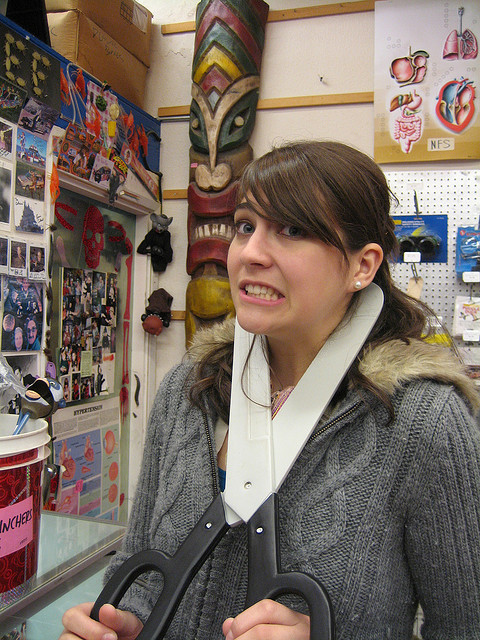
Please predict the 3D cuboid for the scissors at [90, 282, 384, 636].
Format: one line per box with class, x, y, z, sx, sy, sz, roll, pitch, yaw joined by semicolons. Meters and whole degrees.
scissors;0.012;0.143;0.648;0.288;0.399;0.310;0;-2;25
